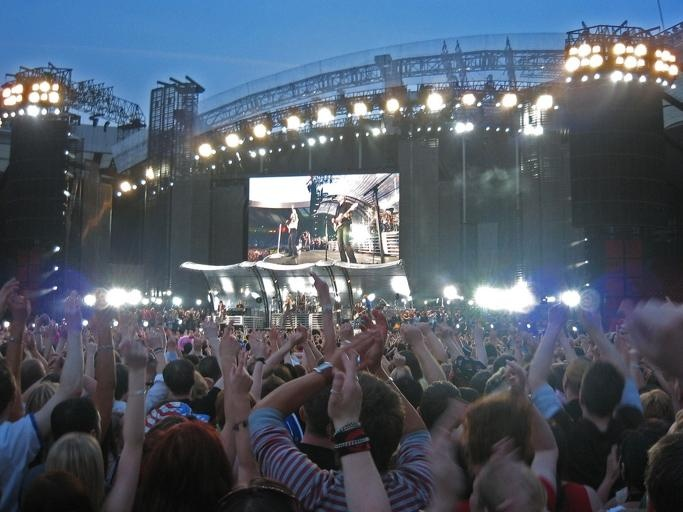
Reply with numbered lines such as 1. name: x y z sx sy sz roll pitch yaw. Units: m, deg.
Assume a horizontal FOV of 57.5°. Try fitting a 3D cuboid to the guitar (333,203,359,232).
1. guitar: 0.221 -1.969 30.575 1.209 1.430 0.525 -1 -4 -3
